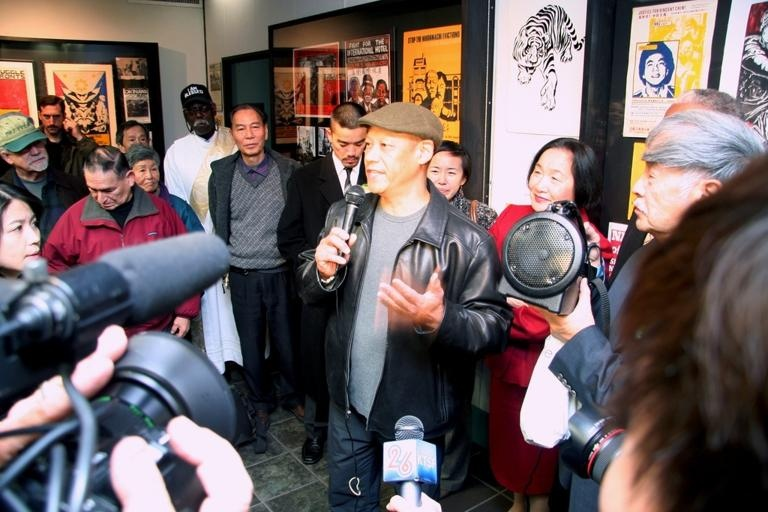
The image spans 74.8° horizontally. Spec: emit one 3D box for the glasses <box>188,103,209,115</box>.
[{"bbox_3d":[-1.732,-1.381,4.694,0.108,0.054,0.157,-3,20,0],"label":"glasses"}]

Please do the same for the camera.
[{"bbox_3d":[0.492,0.456,1.198,0.085,0.208,0.196,-2,18,-7],"label":"camera"}]

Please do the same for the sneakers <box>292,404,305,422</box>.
[{"bbox_3d":[-0.686,1.244,4.028,0.063,0.051,0.161,-3,28,-29],"label":"sneakers"}]
